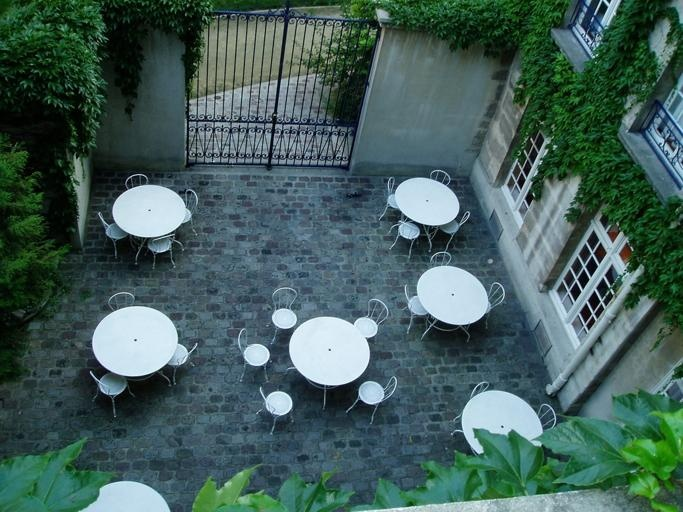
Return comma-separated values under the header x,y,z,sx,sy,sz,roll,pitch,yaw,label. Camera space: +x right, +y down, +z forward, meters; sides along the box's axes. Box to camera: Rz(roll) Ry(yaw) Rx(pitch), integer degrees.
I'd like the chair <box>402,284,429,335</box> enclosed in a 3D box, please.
x,y,z,sx,sy,sz,roll,pitch,yaw,label
1.498,1.142,11.464,0.600,0.884,0.608,-5,67,1,chair

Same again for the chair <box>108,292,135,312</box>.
x,y,z,sx,sy,sz,roll,pitch,yaw,label
-4.412,0.905,10.821,0.388,0.502,0.357,-13,71,-23,chair

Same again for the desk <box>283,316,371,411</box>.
x,y,z,sx,sy,sz,roll,pitch,yaw,label
-0.304,2.168,10.402,1.485,0.825,1.537,-32,67,-27,desk

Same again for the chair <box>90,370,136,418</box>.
x,y,z,sx,sy,sz,roll,pitch,yaw,label
-3.995,2.431,9.383,0.405,0.597,0.437,34,54,1,chair

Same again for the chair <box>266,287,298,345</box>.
x,y,z,sx,sy,sz,roll,pitch,yaw,label
-1.204,1.257,10.818,0.527,1.105,0.789,-3,64,-13,chair

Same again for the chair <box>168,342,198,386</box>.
x,y,z,sx,sy,sz,roll,pitch,yaw,label
-2.990,1.925,10.083,0.578,0.837,0.572,23,58,-15,chair

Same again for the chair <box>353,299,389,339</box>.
x,y,z,sx,sy,sz,roll,pitch,yaw,label
0.609,1.321,11.041,0.321,0.507,0.394,46,51,0,chair

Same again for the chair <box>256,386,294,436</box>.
x,y,z,sx,sy,sz,roll,pitch,yaw,label
-1.207,2.707,9.760,0.618,0.864,0.667,-21,74,-12,chair
